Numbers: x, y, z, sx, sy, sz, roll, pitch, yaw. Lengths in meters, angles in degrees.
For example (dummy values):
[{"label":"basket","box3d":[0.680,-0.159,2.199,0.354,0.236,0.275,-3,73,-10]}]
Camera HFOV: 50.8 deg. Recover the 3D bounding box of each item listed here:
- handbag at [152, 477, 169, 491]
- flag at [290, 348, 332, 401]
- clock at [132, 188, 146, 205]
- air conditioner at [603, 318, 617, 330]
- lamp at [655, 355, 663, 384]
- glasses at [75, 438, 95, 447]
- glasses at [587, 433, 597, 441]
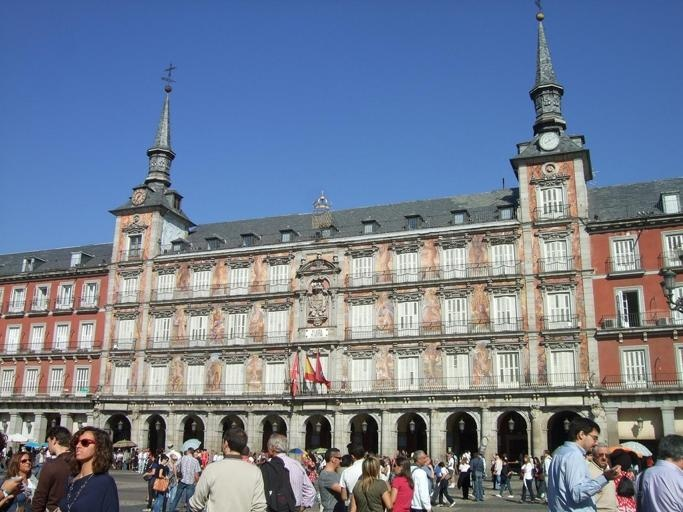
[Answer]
[{"label":"handbag","box3d":[-6.235,7.843,24.803,0.564,0.712,0.297,-3,-9,14]},{"label":"flag","box3d":[-2.008,8.312,49.799,4.021,4.351,0.603,-7,-48,5]},{"label":"clock","box3d":[-16.736,-4.863,59.410,1.192,1.539,0.403,-5,-17,9]},{"label":"air conditioner","box3d":[16.655,4.142,44.487,0.976,0.752,0.456,-8,-17,19]},{"label":"lamp","box3d":[18.967,6.678,43.048,0.520,1.376,0.132,-8,-18,20]},{"label":"glasses","box3d":[-4.600,3.335,12.864,0.355,0.162,0.082,-3,-17,5]},{"label":"glasses","box3d":[4.880,3.490,13.891,0.121,0.163,0.334,-12,-19,29]}]
